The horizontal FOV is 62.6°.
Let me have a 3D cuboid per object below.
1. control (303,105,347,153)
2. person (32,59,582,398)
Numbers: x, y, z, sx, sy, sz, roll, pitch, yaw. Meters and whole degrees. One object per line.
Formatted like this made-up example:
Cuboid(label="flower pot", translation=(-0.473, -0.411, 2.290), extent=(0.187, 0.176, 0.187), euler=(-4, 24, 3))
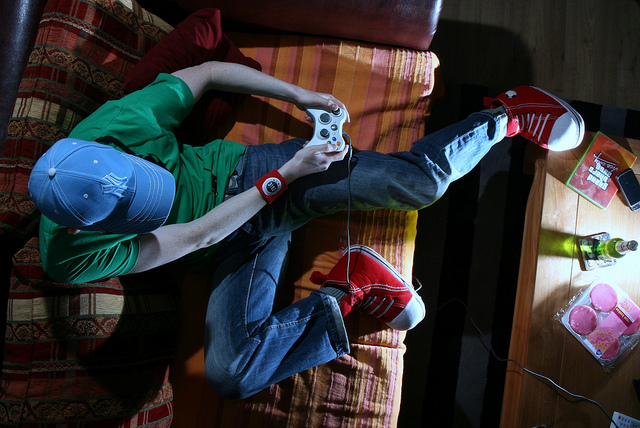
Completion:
Cuboid(label="control", translation=(0.016, -0.345, 2.145), extent=(0.186, 0.194, 0.103), euler=(8, -1, 0))
Cuboid(label="person", translation=(0.008, 0.005, 2.346), extent=(1.999, 1.355, 1.142), euler=(-7, -8, 1))
